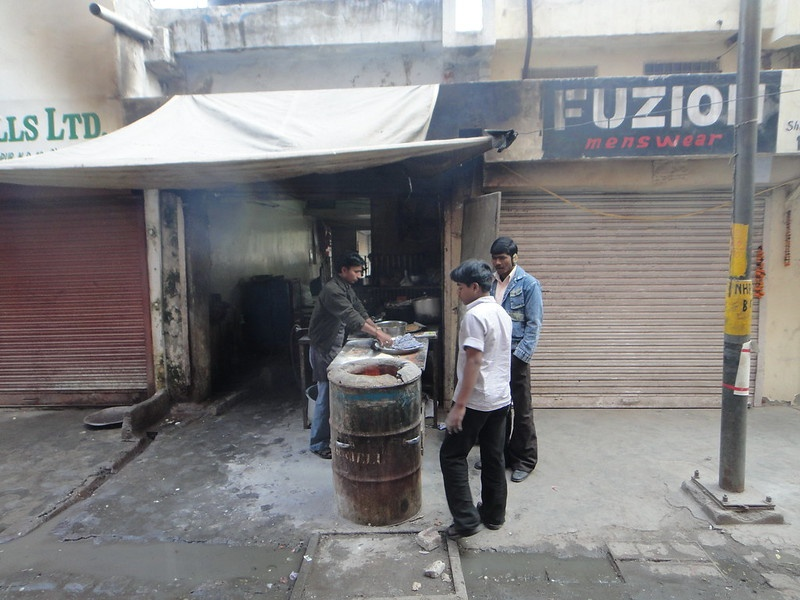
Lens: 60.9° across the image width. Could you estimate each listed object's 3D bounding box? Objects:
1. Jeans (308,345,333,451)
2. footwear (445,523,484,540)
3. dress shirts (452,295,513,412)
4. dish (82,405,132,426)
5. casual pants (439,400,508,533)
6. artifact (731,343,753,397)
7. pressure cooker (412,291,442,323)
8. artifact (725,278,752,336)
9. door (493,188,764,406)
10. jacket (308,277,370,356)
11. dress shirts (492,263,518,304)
[{"bbox_3d":[-1.028,1.274,8.590,0.292,1.293,0.591,-2,14,-6],"label":"Jeans"},{"bbox_3d":[0.666,2.427,7.137,0.337,0.168,0.161,2,0,-5],"label":"footwear"},{"bbox_3d":[0.874,0.558,7.069,0.549,1.169,0.386,0,13,2],"label":"dress shirts"},{"bbox_3d":[-4.087,1.637,9.428,0.447,0.114,0.444,-10,18,-33],"label":"dish"},{"bbox_3d":[0.848,1.637,7.273,0.682,1.599,0.499,8,-15,-23],"label":"casual pants"},{"bbox_3d":[3.781,0.752,7.452,0.110,0.614,0.281,12,18,43],"label":"artifact"},{"bbox_3d":[0.397,0.137,9.967,0.328,0.287,0.388,1,-2,-13],"label":"pressure cooker"},{"bbox_3d":[3.701,0.076,7.429,0.249,0.614,0.175,6,15,26],"label":"artifact"},{"bbox_3d":[3.138,-0.203,9.244,2.839,2.634,0.147,0,4,0],"label":"door"},{"bbox_3d":[-0.845,0.518,8.875,0.787,1.539,0.903,0,2,-7],"label":"jacket"},{"bbox_3d":[1.229,-0.167,8.185,0.255,0.441,0.438,-1,-2,10],"label":"dress shirts"}]
